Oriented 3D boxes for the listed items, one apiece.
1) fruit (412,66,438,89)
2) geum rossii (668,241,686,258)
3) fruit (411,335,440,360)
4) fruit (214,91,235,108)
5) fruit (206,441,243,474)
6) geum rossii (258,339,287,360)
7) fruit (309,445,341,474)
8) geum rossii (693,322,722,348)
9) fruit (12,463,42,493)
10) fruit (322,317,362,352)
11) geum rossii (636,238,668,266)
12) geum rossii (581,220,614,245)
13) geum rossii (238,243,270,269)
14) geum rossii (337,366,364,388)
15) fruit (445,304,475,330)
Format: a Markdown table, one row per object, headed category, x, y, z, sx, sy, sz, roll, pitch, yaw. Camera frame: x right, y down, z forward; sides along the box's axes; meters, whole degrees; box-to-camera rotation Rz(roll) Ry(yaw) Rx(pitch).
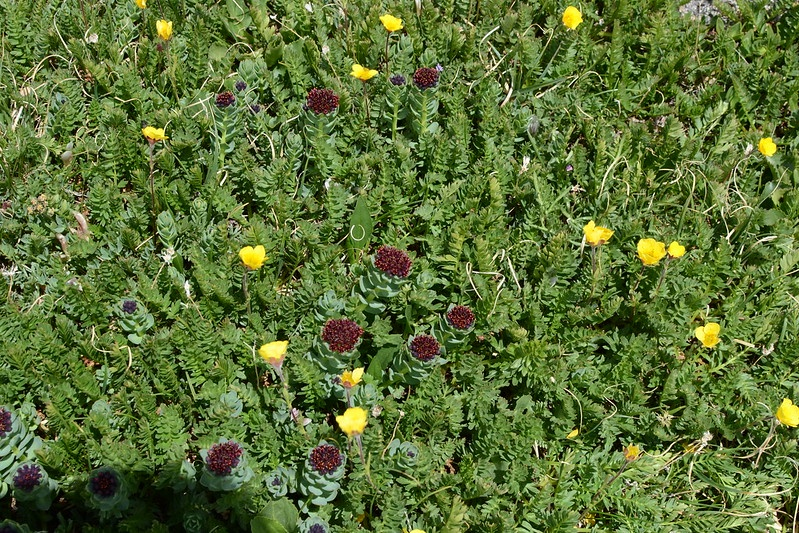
| category | x | y | z | sx | sy | sz | roll | pitch | yaw |
| --- | --- | --- | --- | --- | --- | --- | --- | --- | --- |
| fruit | 0.180 | -1.295 | 4.832 | 0.122 | 0.083 | 0.160 | 2 | 110 | -2 |
| geum rossii | 1.694 | -0.087 | 4.320 | 0.115 | 0.121 | 0.055 | 33 | 108 | -3 |
| fruit | 0.150 | 0.461 | 4.164 | 0.137 | 0.082 | 0.159 | 15 | 88 | 3 |
| fruit | -1.181 | -1.161 | 4.737 | 0.100 | 0.068 | 0.118 | 10 | 49 | 6 |
| fruit | -0.988 | 1.067 | 3.919 | 0.189 | 0.147 | 0.182 | 5 | 83 | 0 |
| geum rossii | -0.682 | 0.460 | 3.831 | 0.128 | 0.245 | 0.106 | 2 | 82 | 0 |
| fruit | -0.419 | 1.080 | 3.922 | 0.190 | 0.060 | 0.160 | -4 | 83 | -2 |
| geum rossii | 1.905 | 0.410 | 4.335 | 0.153 | 0.087 | 0.195 | -3 | 91 | 30 |
| fruit | -2.070 | 1.174 | 3.896 | 0.127 | 0.046 | 0.149 | -5 | 77 | -11 |
| fruit | -0.337 | 0.420 | 4.126 | 0.189 | 0.091 | 0.197 | -21 | 76 | -12 |
| geum rossii | 1.551 | -0.087 | 4.357 | 0.154 | 0.099 | 0.182 | 19 | 81 | 11 |
| geum rossii | 1.221 | -0.210 | 4.366 | 0.162 | 0.113 | 0.198 | 21 | 40 | 10 |
| geum rossii | -0.837 | -0.055 | 4.026 | 0.128 | 0.169 | 0.121 | -6 | 83 | -1 |
| geum rossii | -0.285 | 0.643 | 4.007 | 0.168 | 0.454 | 0.102 | -21 | 83 | -3 |
| fruit | 0.364 | 0.310 | 4.228 | 0.129 | 0.073 | 0.148 | 17 | 72 | 6 |
